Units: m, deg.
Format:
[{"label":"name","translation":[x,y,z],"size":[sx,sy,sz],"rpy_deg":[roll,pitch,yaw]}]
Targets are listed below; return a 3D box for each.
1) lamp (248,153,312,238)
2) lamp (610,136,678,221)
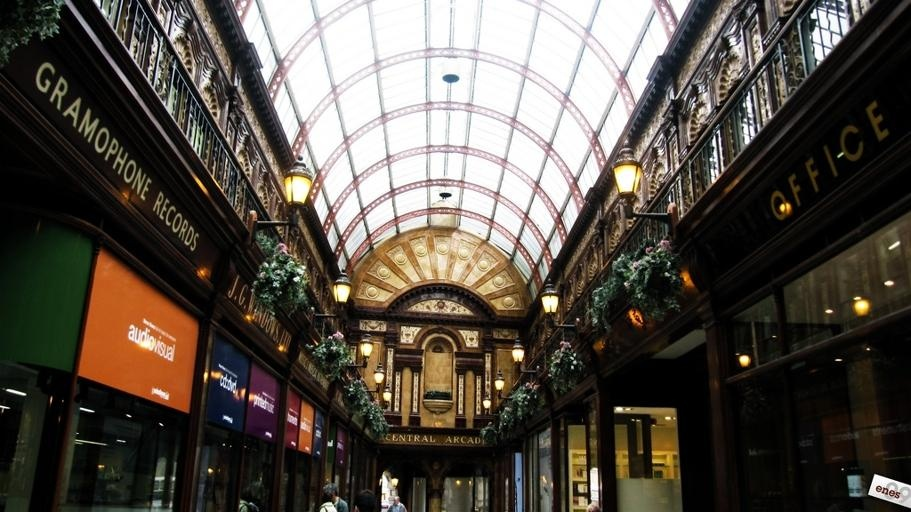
[{"label":"lamp","translation":[-3.283,-1.182,11.840],"size":[1.224,1.663,0.668],"rpy_deg":[-1,-1,-22]},{"label":"lamp","translation":[3.386,-1.449,11.485],"size":[1.214,1.825,0.655],"rpy_deg":[3,14,35]}]
